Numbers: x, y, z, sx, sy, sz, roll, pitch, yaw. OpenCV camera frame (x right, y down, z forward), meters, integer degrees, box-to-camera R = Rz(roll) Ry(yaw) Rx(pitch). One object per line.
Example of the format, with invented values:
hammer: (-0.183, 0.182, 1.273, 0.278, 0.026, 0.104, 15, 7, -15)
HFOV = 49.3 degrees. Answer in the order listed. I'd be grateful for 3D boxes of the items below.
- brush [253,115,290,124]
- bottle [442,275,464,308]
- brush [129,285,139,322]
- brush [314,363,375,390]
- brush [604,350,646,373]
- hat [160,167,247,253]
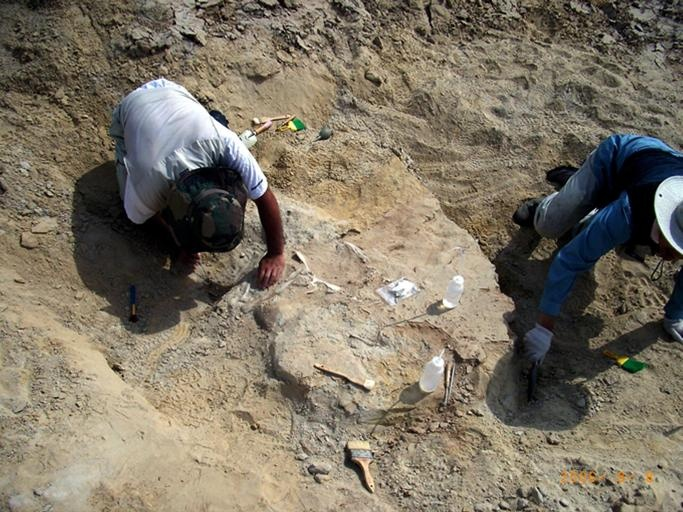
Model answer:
brush: (-0.857, -1.651, 9.014, 0.241, 0.036, 0.071, -17, 53, -28)
bottle: (1.148, 0.379, 7.643, 0.133, 0.341, 0.154, -16, 55, -6)
brush: (-2.191, 0.498, 7.823, 0.066, 0.101, 0.484, 1, 61, -25)
brush: (0.027, 1.174, 7.230, 0.634, 0.118, 0.104, 23, 43, -3)
brush: (2.925, 1.086, 7.674, 0.161, 0.041, 0.312, -33, 46, -26)
hat: (-1.355, -0.407, 7.447, 0.786, 0.705, 0.623, 8, 44, -13)
